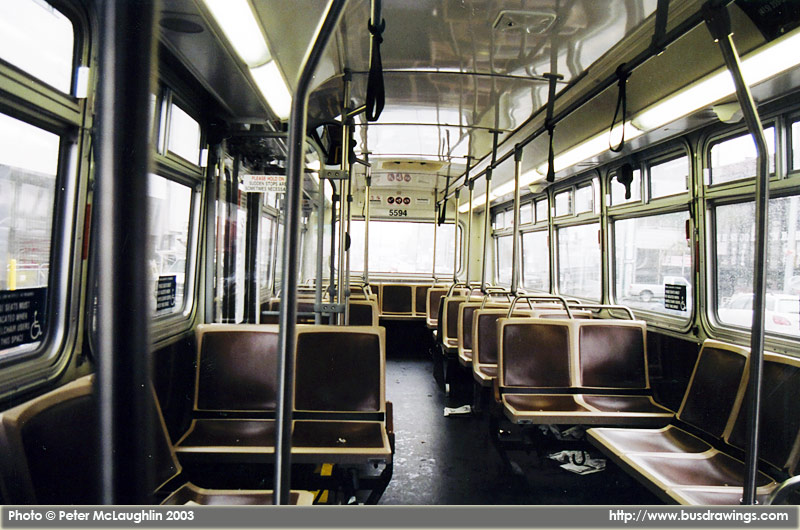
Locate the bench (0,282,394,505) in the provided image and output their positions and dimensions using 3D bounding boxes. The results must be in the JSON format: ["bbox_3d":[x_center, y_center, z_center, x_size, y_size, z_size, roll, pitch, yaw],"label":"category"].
[{"bbox_3d":[-0.985,1.162,3.644,1.879,1.232,1.740,1,9,-1],"label":"bench"}]
